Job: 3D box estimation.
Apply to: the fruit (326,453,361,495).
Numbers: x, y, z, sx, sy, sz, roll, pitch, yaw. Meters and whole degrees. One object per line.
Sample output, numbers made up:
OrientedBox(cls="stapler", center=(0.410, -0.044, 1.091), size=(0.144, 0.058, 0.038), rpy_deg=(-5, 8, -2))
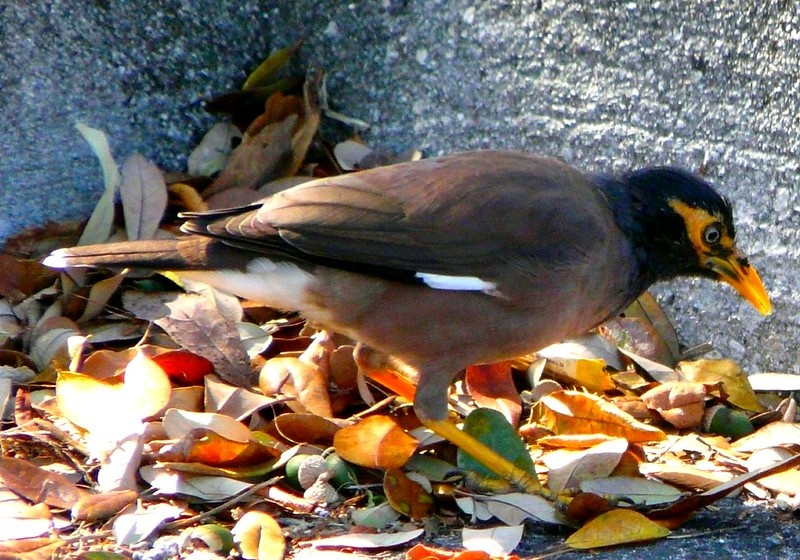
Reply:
OrientedBox(cls="fruit", center=(-0.220, 0.716, 4.306), size=(0.160, 0.089, 0.087), rpy_deg=(47, 29, 15))

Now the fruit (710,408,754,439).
OrientedBox(cls="fruit", center=(1.315, 0.573, 4.658), size=(0.180, 0.083, 0.120), rpy_deg=(15, 29, 9))

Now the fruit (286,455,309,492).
OrientedBox(cls="fruit", center=(-0.395, 0.697, 4.290), size=(0.075, 0.104, 0.118), rpy_deg=(5, 33, -3))
